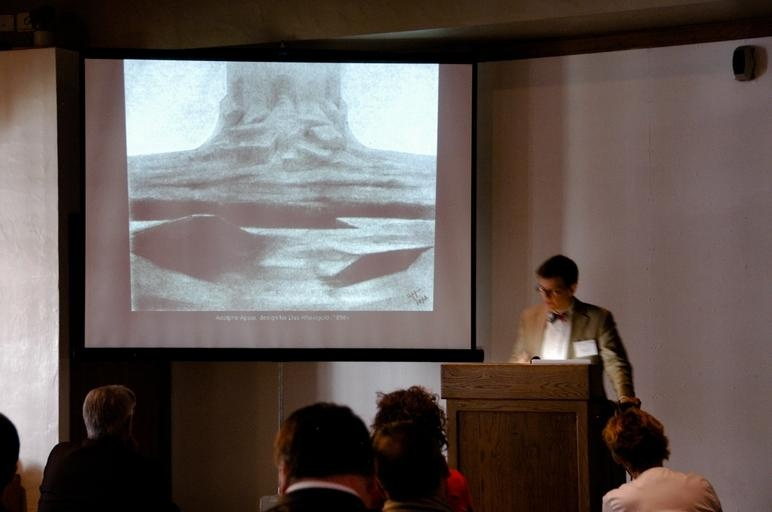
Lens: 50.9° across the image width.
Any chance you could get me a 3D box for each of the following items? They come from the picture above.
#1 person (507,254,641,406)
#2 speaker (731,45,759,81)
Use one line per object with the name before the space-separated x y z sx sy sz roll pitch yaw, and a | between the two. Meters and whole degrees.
person | 1.294 0.658 6.020 1.241 1.181 0.671 -6 1 27
speaker | 2.533 -1.359 5.706 0.164 0.235 0.114 -5 -9 24
